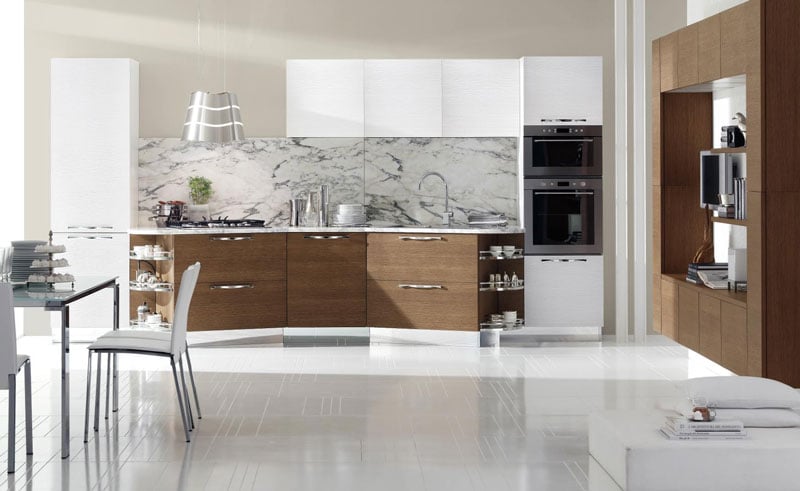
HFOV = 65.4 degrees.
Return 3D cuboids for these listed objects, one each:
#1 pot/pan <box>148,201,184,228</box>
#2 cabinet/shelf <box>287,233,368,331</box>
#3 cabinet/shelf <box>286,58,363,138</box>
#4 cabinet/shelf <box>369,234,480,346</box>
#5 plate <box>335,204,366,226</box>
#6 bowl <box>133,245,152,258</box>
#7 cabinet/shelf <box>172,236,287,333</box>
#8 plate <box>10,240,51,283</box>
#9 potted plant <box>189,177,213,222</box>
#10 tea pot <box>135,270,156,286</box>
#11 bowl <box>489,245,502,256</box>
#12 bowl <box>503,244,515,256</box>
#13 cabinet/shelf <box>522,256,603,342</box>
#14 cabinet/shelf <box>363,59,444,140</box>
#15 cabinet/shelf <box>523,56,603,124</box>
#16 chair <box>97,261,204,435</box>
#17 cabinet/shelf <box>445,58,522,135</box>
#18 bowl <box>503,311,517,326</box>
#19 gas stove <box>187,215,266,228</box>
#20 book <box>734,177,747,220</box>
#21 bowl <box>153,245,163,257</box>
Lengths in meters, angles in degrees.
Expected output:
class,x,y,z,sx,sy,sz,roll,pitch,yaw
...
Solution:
class,x,y,z,sx,sy,sz,roll,pitch,yaw
pot/pan,-2.680,-0.344,7.170,0.374,0.293,0.342,0,-2,10
cabinet/shelf,-0.833,0.428,7.492,1.404,1.365,1.004,0,-3,0
cabinet/shelf,-0.860,-1.719,7.216,1.087,0.812,0.326,0,0,0
cabinet/shelf,0.242,0.407,6.901,1.234,1.062,0.335,1,11,1
plate,-0.574,-0.335,7.313,0.325,0.185,0.305,-1,-2,21
bowl,-2.797,0.072,6.771,0.164,0.084,0.148,-1,-1,4
cabinet/shelf,-1.764,0.439,7.246,1.443,1.091,0.762,-2,-2,20
plate,-3.087,0.136,5.111,0.370,0.342,0.357,-1,-5,13
potted plant,-2.373,-0.550,7.399,0.287,0.502,0.202,-2,11,-15
tea pot,-2.764,0.368,6.792,0.179,0.095,0.217,2,-3,-6
bowl,1.066,0.069,6.919,0.121,0.075,0.109,1,3,-4
bowl,1.221,0.076,7.013,0.135,0.085,0.118,0,0,-25
cabinet/shelf,1.945,0.619,7.627,0.901,0.921,1.072,0,1,3
cabinet/shelf,0.215,-1.740,7.412,1.127,0.876,0.570,11,19,37
cabinet/shelf,1.843,-1.775,7.089,0.916,0.622,0.432,0,-1,0
chair,-2.005,0.814,5.021,0.854,1.068,0.716,-3,1,-11
cabinet/shelf,0.980,-1.730,7.178,1.089,0.860,0.529,0,0,0
bowl,1.226,0.818,6.969,0.184,0.115,0.133,-1,0,-6
gas stove,-1.998,-0.256,7.190,0.859,0.080,0.599,-1,9,-8
book,2.978,-0.407,5.462,0.099,0.363,0.262,5,11,22
bowl,-2.616,0.068,6.757,0.103,0.106,0.080,-5,12,-30
